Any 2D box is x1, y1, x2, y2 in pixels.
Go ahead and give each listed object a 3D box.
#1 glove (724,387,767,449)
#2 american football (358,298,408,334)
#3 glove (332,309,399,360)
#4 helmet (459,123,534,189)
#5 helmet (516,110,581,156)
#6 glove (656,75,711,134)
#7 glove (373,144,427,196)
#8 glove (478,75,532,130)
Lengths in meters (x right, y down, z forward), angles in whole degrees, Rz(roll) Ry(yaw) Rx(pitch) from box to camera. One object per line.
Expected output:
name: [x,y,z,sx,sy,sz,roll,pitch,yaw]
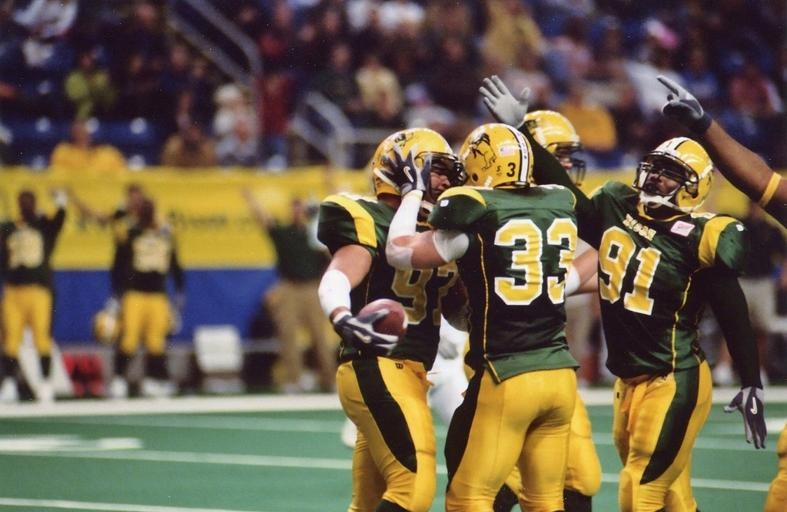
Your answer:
glove: [2.879,1.334,9.933,0.331,0.551,0.254,3,12,14]
american football: [-0.080,0.505,9.497,0.322,0.249,0.252,5,-24,-16]
glove: [-0.200,0.641,9.593,0.524,0.453,0.359,3,11,11]
helmet: [0.779,-0.810,9.832,0.435,0.473,0.574,-4,25,-37]
helmet: [1.400,-1.099,10.699,0.508,0.397,0.374,28,22,-1]
glove: [2.387,-1.200,10.176,0.550,0.194,0.321,37,47,2]
glove: [0.085,-0.655,9.859,0.447,0.363,0.331,12,-12,19]
glove: [0.941,-1.303,10.256,0.374,0.415,0.371,3,11,10]
